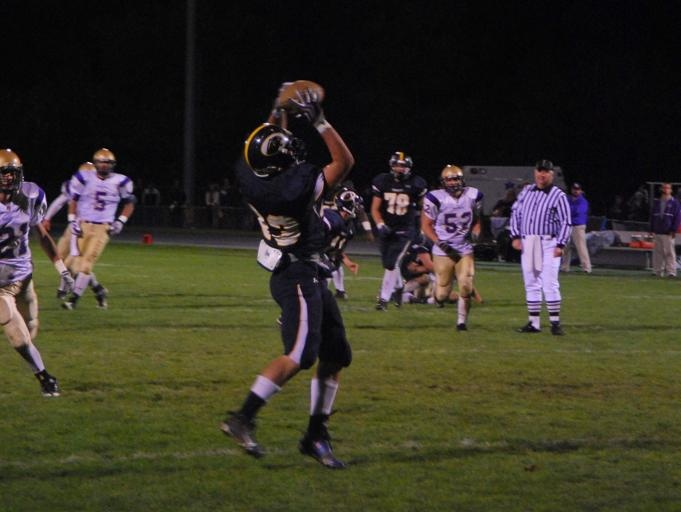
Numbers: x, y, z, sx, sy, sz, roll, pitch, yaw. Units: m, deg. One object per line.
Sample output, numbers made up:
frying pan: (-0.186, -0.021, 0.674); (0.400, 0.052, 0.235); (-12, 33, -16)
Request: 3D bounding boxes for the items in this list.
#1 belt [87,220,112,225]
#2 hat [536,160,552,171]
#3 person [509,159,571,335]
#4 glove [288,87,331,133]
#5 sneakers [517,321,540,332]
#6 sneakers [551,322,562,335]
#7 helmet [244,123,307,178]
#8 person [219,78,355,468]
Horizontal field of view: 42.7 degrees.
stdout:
belt: (-3.255, -0.453, 11.612); (0.353, 0.062, 0.098); (-2, 9, -21)
hat: (2.410, -1.088, 10.378); (0.205, 0.127, 0.314); (5, 8, 19)
person: (2.370, -0.107, 10.376); (0.688, 2.030, 0.444); (3, 9, 12)
glove: (-0.228, -1.012, 6.083); (0.239, 0.316, 0.115); (-34, 22, -20)
sneakers: (2.269, 0.856, 10.479); (0.336, 0.118, 0.105); (3, 2, 7)
sneakers: (2.595, 0.847, 10.371); (0.159, 0.140, 0.275); (3, 8, 12)
helmet: (-0.476, -0.694, 6.109); (0.461, 0.296, 0.378); (10, -13, -20)
person: (-0.348, 0.108, 6.094); (0.864, 2.648, 0.820); (1, 9, 0)
